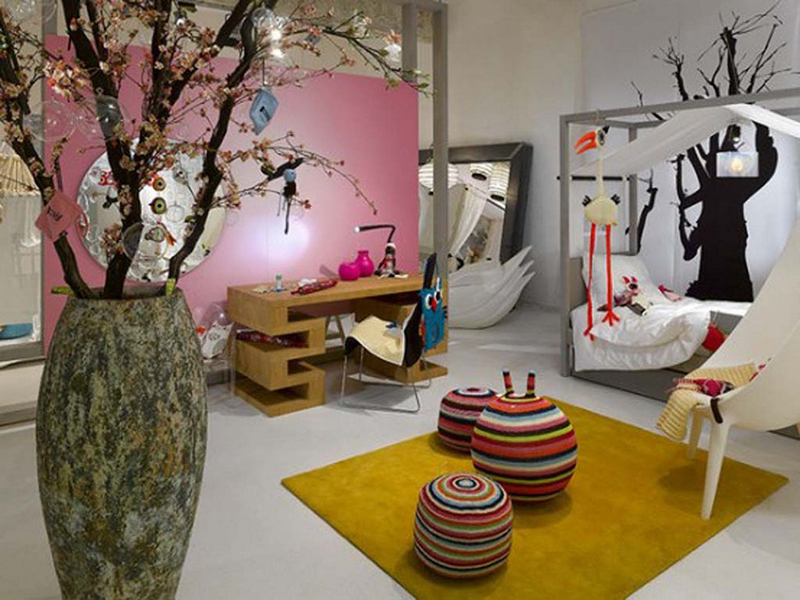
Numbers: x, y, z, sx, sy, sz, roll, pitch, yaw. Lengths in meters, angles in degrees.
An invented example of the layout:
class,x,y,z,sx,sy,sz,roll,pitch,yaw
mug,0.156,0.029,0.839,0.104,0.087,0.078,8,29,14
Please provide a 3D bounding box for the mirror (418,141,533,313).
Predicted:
class,x,y,z,sx,sy,sz,roll,pitch,yaw
mirror,0.939,-0.874,6.602,1.883,2.035,0.156,11,5,35
